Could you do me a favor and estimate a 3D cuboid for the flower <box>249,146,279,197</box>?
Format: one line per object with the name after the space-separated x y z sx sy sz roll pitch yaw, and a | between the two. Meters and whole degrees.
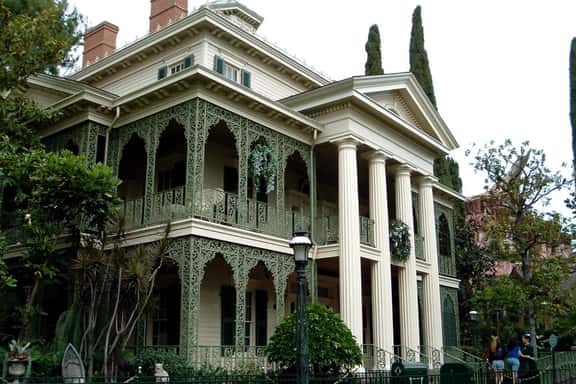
-0.968 -0.921 23.730 0.887 2.089 1.400 -1 -9 -5 | flower

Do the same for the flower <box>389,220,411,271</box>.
5.083 2.306 26.700 1.316 1.666 0.740 2 2 -19 | flower

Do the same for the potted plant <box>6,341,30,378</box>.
-8.596 5.345 18.804 0.697 1.261 0.699 -14 -22 26 | potted plant
